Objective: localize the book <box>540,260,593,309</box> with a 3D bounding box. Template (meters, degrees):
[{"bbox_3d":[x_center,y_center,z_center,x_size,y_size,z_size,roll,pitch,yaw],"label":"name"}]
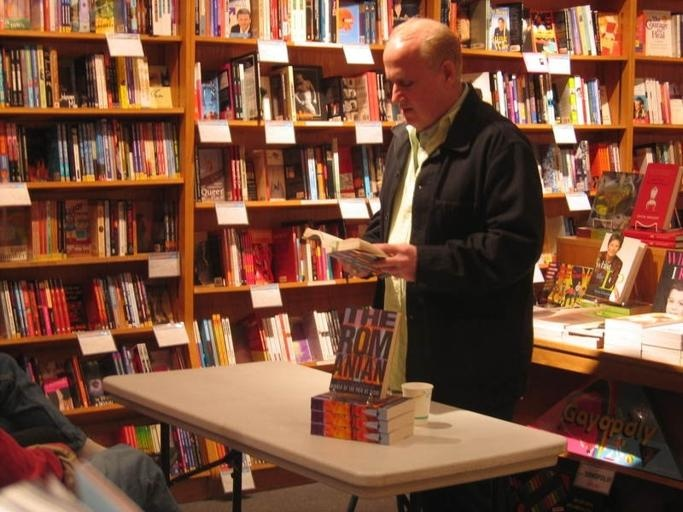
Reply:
[{"bbox_3d":[1.245,0.164,3.307,0.030,0.177,0.225,21,-1,-24],"label":"book"}]

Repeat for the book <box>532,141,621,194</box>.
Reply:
[{"bbox_3d":[1.666,-0.635,4.315,0.649,0.497,0.426,-5,8,-7],"label":"book"}]

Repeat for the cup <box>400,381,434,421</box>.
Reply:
[{"bbox_3d":[0.245,0.431,1.873,0.101,0.109,0.106,-1,8,0],"label":"cup"}]

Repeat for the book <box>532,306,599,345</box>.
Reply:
[{"bbox_3d":[1.022,0.345,2.804,0.191,0.023,0.214,-10,14,-36],"label":"book"}]

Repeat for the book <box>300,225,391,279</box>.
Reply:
[{"bbox_3d":[0.046,-0.001,2.072,0.200,0.084,0.202,1,-20,45],"label":"book"}]
